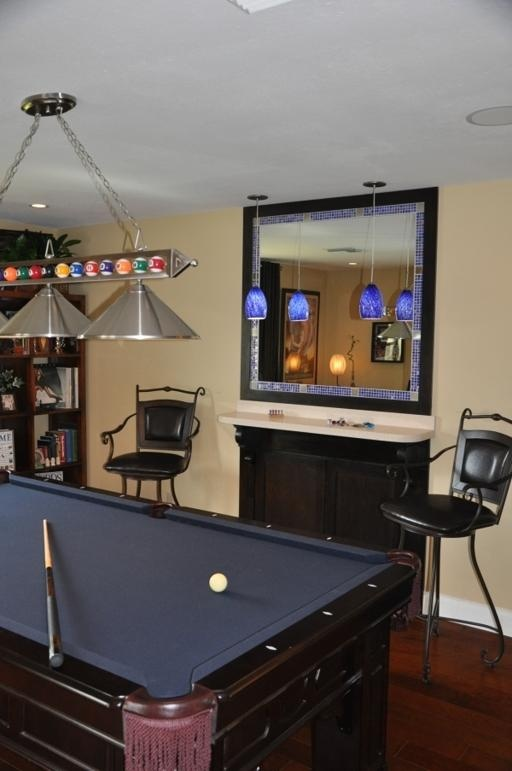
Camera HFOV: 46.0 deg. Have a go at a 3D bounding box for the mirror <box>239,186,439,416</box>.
[{"bbox_3d":[0.521,-0.561,4.173,1.481,1.443,0.043,6,7,38],"label":"mirror"}]

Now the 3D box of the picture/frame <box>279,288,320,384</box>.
[{"bbox_3d":[0.325,-0.324,4.300,0.263,0.706,0.012,8,25,18],"label":"picture/frame"}]

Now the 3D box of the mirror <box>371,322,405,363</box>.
[{"bbox_3d":[0.877,-0.286,3.930,0.270,0.314,0.021,3,4,40],"label":"mirror"}]

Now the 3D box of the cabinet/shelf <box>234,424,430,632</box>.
[{"bbox_3d":[0.424,0.605,2.820,1.167,1.069,0.340,3,3,31],"label":"cabinet/shelf"}]
